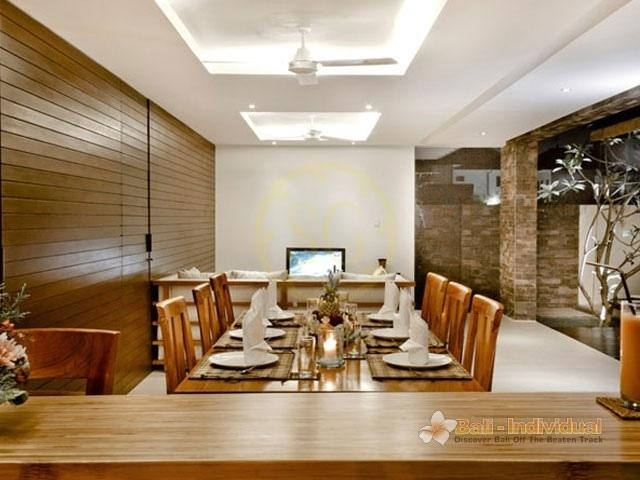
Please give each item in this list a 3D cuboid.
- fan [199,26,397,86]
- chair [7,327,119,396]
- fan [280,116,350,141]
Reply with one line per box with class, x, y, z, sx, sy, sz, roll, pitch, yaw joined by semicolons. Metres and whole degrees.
fan;-0.097;-1.479;3.759;1.361;0.397;0.710;0;0;0
chair;-0.846;0.413;1.523;0.350;0.229;0.164;0;1;20
fan;-0.120;-1.617;6.720;0.567;0.223;0.617;-9;14;-30
